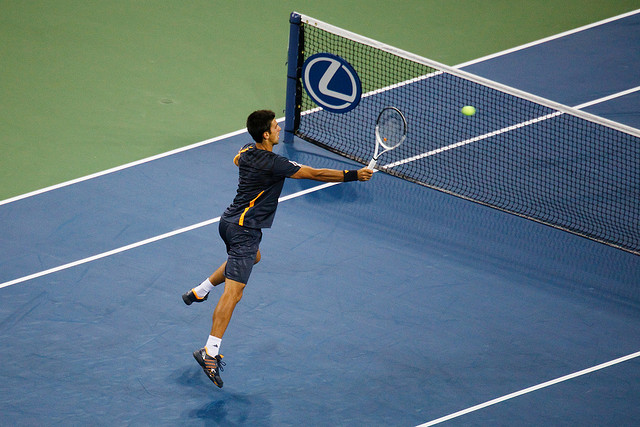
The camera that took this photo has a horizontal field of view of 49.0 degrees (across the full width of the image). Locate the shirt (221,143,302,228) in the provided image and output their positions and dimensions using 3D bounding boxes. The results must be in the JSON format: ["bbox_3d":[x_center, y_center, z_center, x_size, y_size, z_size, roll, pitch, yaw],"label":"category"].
[{"bbox_3d":[-0.712,-0.278,8.842,1.156,0.948,0.674,17,7,41],"label":"shirt"}]

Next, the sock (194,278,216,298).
[{"bbox_3d":[-1.514,0.966,9.112,0.161,0.352,0.116,6,62,-39],"label":"sock"}]

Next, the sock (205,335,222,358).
[{"bbox_3d":[-1.295,1.594,8.474,0.158,0.227,0.179,8,39,-1],"label":"sock"}]
